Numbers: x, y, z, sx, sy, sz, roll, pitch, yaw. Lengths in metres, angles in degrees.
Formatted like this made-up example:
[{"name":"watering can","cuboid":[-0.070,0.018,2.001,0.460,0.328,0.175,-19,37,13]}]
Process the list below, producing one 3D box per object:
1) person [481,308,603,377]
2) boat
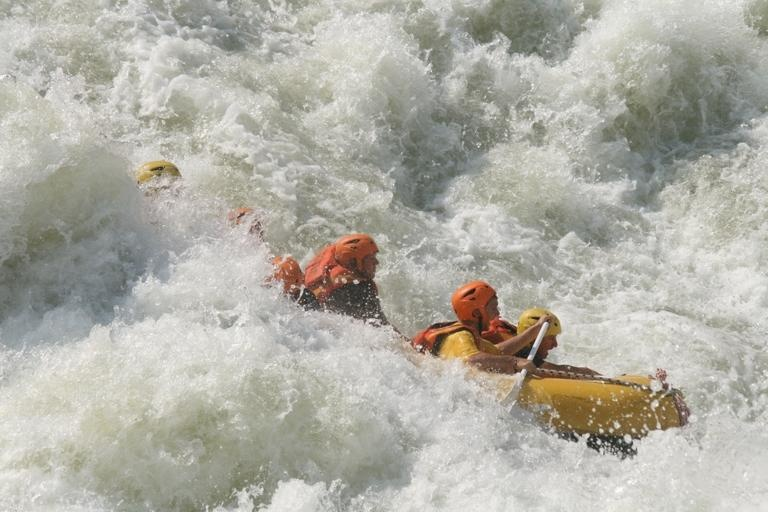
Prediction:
[{"name":"person","cuboid":[3.043,1.614,20.823,1.778,1.305,0.702,29,85,21]},{"name":"boat","cuboid":[3.784,2.818,19.711,2.909,1.695,1.031,18,84,8]}]
